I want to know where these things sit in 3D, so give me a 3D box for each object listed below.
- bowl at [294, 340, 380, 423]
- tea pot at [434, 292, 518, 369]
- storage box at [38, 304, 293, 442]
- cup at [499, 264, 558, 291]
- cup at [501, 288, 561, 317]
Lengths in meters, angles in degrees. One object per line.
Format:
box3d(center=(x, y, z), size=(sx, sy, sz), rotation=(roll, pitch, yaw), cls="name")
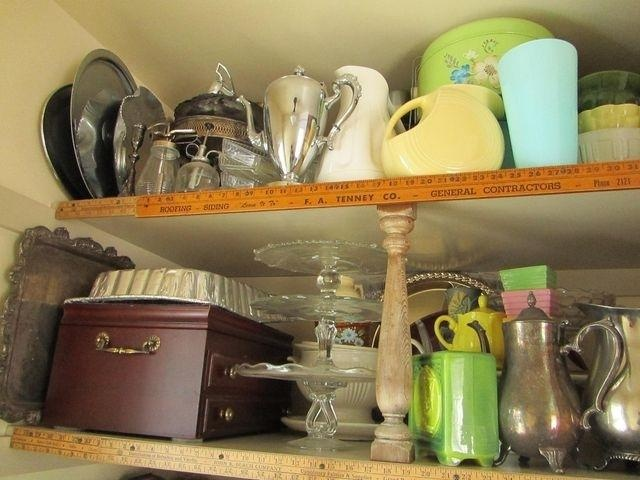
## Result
box3d(center=(0.070, 0.395, 1.269), size=(0.206, 0.135, 0.180), rotation=(4, 0, -22), cls="bowl")
box3d(center=(0.342, 0.192, 1.067), size=(0.171, 0.156, 0.121), rotation=(-4, -19, 23), cls="tea pot")
box3d(center=(-0.359, 0.370, 1.346), size=(0.477, 0.295, 0.604), rotation=(-5, -19, 27), cls="storage box")
box3d(center=(0.438, 0.093, 1.019), size=(0.073, 0.034, 0.072), rotation=(0, -9, 0), cls="cup")
box3d(center=(0.425, 0.126, 1.000), size=(0.070, 0.044, 0.072), rotation=(1, -5, 0), cls="cup")
